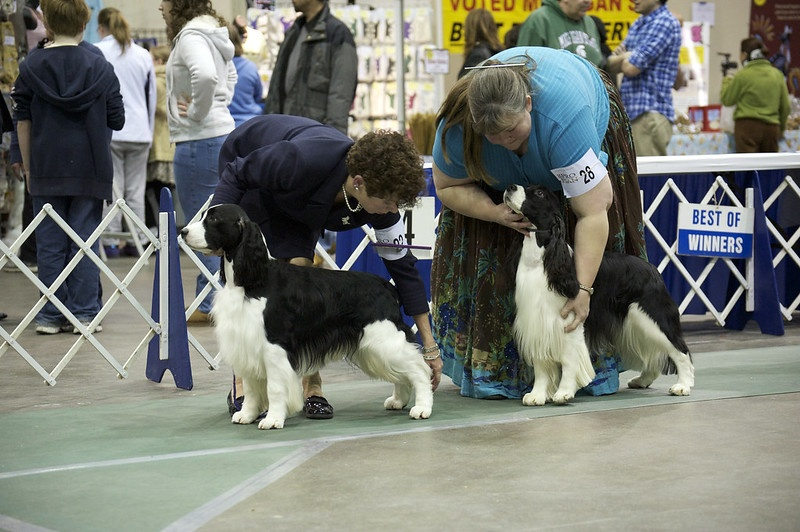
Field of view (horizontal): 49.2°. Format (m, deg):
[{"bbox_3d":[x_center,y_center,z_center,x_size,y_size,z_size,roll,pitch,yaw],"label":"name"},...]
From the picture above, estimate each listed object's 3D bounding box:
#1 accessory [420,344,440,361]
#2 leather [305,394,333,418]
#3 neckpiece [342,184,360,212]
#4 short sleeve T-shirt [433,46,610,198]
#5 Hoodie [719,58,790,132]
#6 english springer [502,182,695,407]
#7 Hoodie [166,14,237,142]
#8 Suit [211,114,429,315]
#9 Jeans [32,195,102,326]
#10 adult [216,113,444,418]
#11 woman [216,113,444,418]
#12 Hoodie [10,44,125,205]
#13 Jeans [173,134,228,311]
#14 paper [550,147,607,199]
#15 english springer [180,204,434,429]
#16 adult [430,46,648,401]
[{"bbox_3d":[0.172,0.483,4.838,0.070,0.055,0.089,-5,-1,6],"label":"accessory"},{"bbox_3d":[-0.455,0.786,4.842,0.105,0.075,0.198,0,-2,-9],"label":"leather"},{"bbox_3d":[-0.262,-0.352,4.628,0.085,0.118,0.029,-23,16,-22],"label":"neckpiece"},{"bbox_3d":[0.762,-0.734,4.867,0.863,0.667,0.874,5,42,49],"label":"short sleeve T-shirt"},{"bbox_3d":[4.126,-1.967,10.391,0.892,1.116,0.737,0,8,1],"label":"Hoodie"},{"bbox_3d":[1.145,0.184,5.109,1.131,1.224,0.603,-1,1,-20],"label":"english springer"},{"bbox_3d":[-1.479,-1.397,6.483,0.506,0.930,0.466,-4,12,-14],"label":"Hoodie"},{"bbox_3d":[-0.471,-0.203,4.960,1.172,1.235,0.908,8,10,-11],"label":"Suit"},{"bbox_3d":[-2.508,-0.054,6.576,0.506,1.226,0.363,0,-33,-12],"label":"Jeans"},{"bbox_3d":[-0.471,0.018,4.920,1.320,1.731,0.883,9,12,26],"label":"adult"},{"bbox_3d":[-0.468,0.050,4.891,1.379,1.759,0.868,10,11,31],"label":"woman"},{"bbox_3d":[-2.525,-1.128,6.628,0.760,1.121,0.785,-4,19,-30],"label":"Hoodie"},{"bbox_3d":[-1.595,-0.283,6.652,0.394,1.499,0.538,13,-23,-29],"label":"Jeans"},{"bbox_3d":[1.021,-0.553,4.817,0.318,0.248,0.310,-15,10,22],"label":"paper"},{"bbox_3d":[-0.497,0.309,4.806,1.161,1.075,0.540,-1,-7,-19],"label":"english springer"},{"bbox_3d":[0.719,-0.237,5.185,1.235,2.037,1.466,4,16,31],"label":"adult"}]
